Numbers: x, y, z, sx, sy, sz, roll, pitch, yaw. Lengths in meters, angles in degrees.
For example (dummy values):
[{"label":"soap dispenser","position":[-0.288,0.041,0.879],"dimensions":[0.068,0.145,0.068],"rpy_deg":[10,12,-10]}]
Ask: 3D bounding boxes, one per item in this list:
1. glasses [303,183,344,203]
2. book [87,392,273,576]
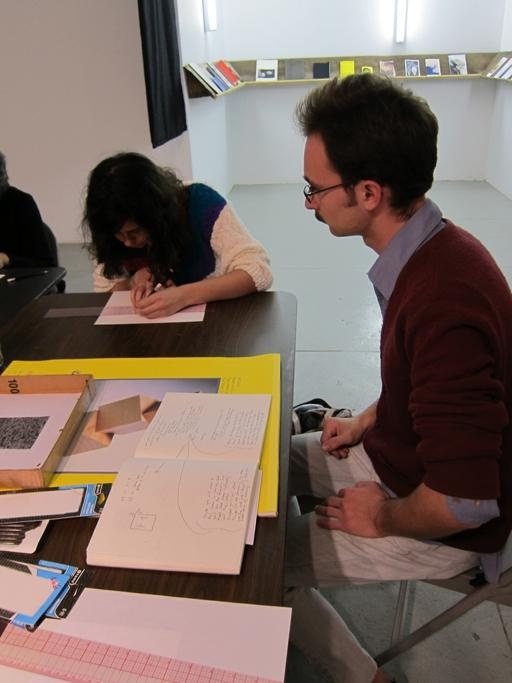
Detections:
[{"label":"glasses","position":[0.118,-0.275,0.935],"dimensions":[0.046,0.012,0.042],"rpy_deg":[-14,9,7]},{"label":"book","position":[-0.090,0.166,0.636],"dimensions":[0.143,0.032,0.258],"rpy_deg":[0,35,9]}]
